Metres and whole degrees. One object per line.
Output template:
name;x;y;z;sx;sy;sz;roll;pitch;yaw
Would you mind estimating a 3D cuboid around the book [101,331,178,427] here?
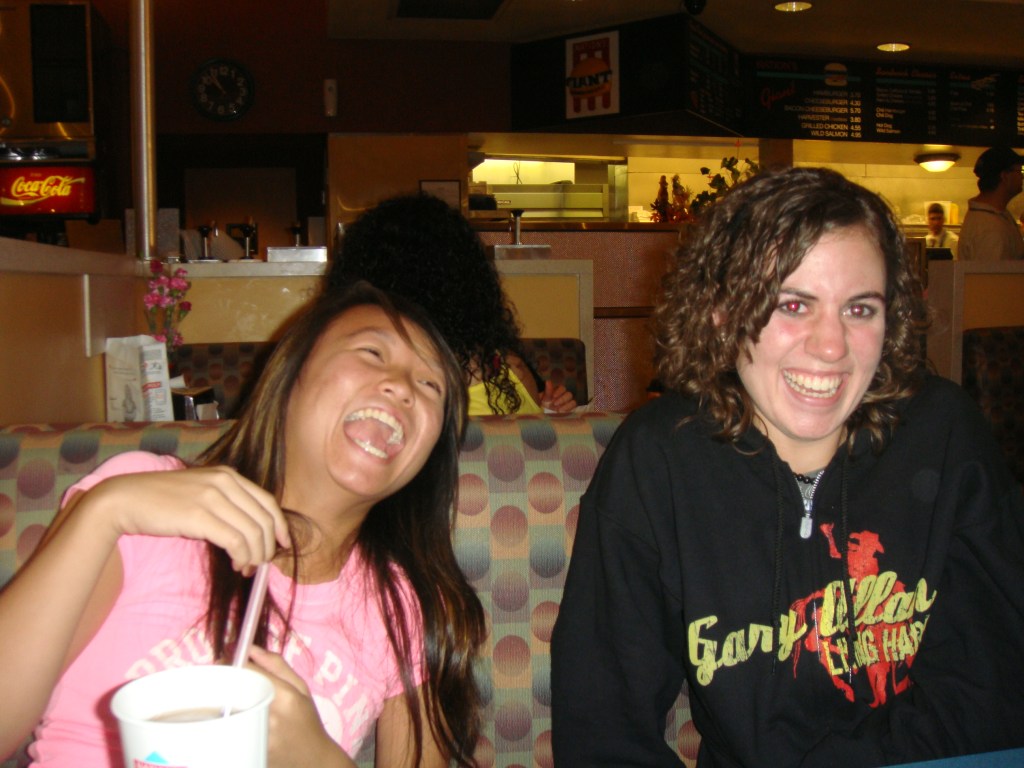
book;-1.191;-0.006;2.920;0.220;0.310;0.048;-14;-18;1
